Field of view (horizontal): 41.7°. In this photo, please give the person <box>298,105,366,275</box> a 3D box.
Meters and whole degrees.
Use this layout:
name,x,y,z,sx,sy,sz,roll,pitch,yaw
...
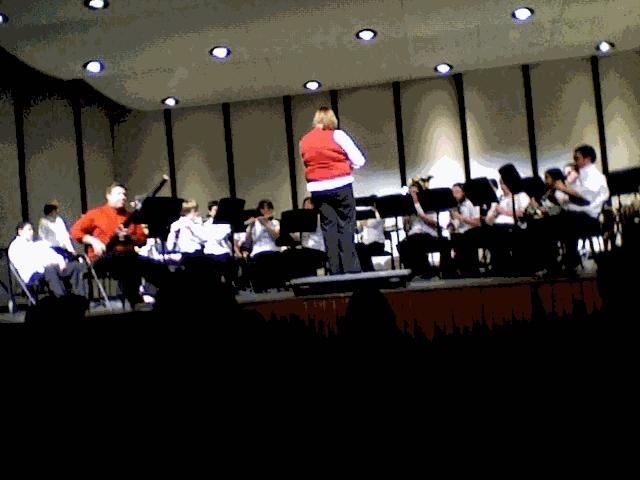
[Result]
name,x,y,z,sx,sy,sz,roll,pitch,yaw
person,0.144,-0.467,7.680,0.349,1.109,0.642,-3,-4,-43
